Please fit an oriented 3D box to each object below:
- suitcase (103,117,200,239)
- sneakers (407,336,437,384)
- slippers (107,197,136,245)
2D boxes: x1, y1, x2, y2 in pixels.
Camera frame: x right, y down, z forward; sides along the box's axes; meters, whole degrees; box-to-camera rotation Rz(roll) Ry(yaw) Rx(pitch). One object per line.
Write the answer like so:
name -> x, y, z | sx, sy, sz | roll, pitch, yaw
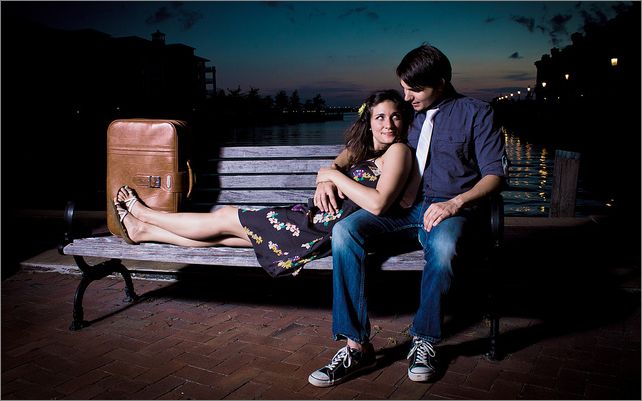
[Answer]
suitcase -> -1.858, -0.234, 5.133 | 1.071, 1.227, 0.573 | 5, 7, 21
sneakers -> 0.903, 1.368, 4.102 | 0.282, 0.207, 0.592 | 2, 14, 7
slippers -> -2.064, 0.196, 4.832 | 0.184, 0.531, 0.219 | -11, -15, -46
